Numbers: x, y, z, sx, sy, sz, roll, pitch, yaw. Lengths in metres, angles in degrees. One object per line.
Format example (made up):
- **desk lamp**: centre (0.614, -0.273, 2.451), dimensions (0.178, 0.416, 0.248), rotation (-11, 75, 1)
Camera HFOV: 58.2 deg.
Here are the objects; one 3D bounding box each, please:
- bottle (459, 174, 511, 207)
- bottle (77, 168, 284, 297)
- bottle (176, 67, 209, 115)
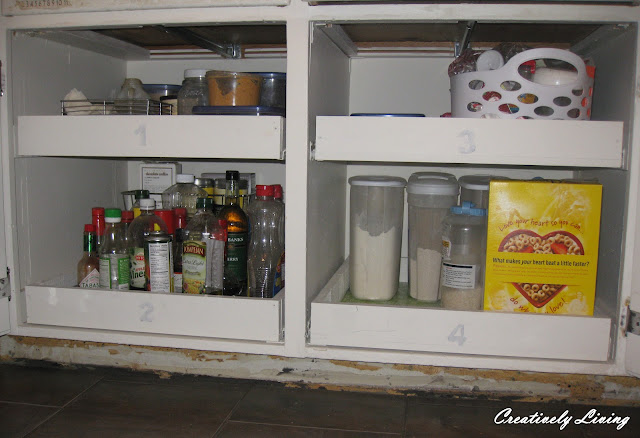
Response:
- **bottle**: centre (0.523, -0.107, 1.836), dimensions (0.155, 0.087, 0.121), rotation (1, 5, 2)
- **bottle**: centre (-0.421, 0.054, 1.763), dimensions (0.484, 0.542, 0.200), rotation (0, 1, -12)
- **bottle**: centre (-0.405, -0.389, 1.767), dimensions (0.100, 0.139, 0.094), rotation (14, 27, -7)
